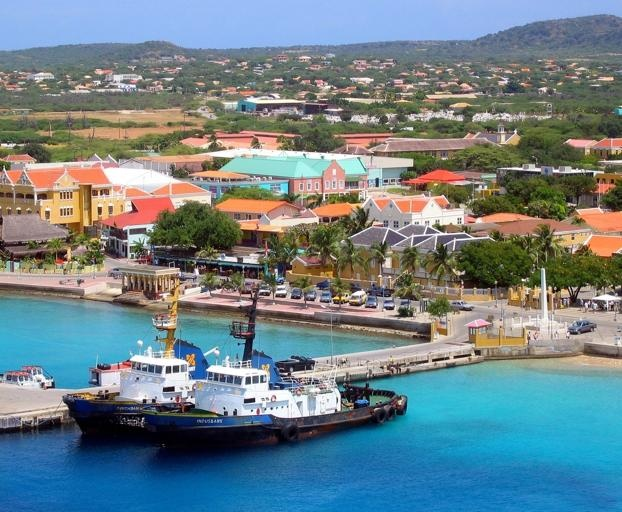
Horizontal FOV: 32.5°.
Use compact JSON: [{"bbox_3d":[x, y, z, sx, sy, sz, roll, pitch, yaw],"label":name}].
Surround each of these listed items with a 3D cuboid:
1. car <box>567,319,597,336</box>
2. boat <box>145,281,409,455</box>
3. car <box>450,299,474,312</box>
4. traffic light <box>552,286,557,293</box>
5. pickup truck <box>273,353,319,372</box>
[{"bbox_3d":[19.764,5.309,77.381,2.165,0.743,0.974,-2,1,-43],"label":"car"},{"bbox_3d":[-1.479,8.659,60.756,16.228,7.166,6.006,3,0,-43],"label":"boat"},{"bbox_3d":[11.863,4.055,84.185,1.615,0.629,0.851,-2,4,30],"label":"car"},{"bbox_3d":[19.465,2.717,84.899,0.605,0.763,0.104,-2,31,5],"label":"traffic light"},{"bbox_3d":[-0.973,6.861,66.933,1.751,0.663,1.092,-6,10,-32],"label":"pickup truck"}]
